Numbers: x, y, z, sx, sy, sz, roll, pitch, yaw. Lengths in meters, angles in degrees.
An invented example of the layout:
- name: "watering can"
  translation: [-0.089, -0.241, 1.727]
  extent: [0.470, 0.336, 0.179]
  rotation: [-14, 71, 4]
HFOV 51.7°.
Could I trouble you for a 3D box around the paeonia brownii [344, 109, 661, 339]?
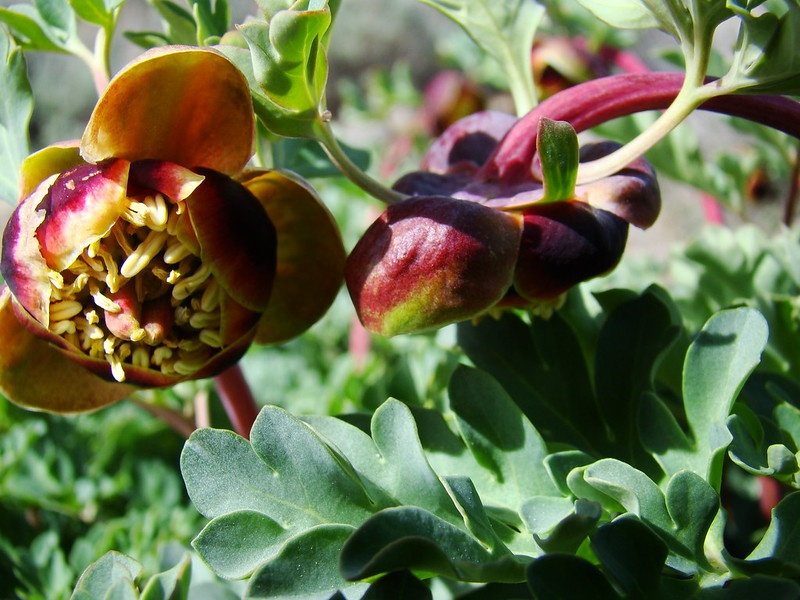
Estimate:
- name: "paeonia brownii"
  translation: [0.081, -0.085, 0.695]
  extent: [0.253, 0.151, 0.166]
  rotation: [-21, -9, 17]
